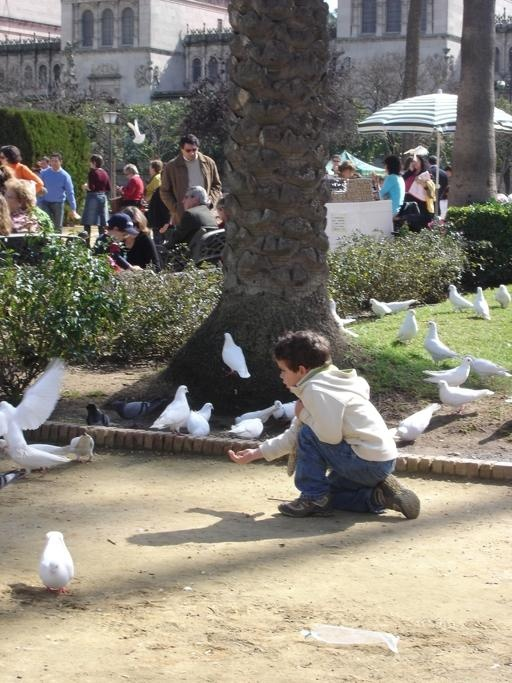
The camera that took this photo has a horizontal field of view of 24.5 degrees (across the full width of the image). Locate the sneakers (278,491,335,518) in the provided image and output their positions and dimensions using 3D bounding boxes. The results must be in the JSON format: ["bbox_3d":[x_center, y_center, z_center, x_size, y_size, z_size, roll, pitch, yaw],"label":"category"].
[{"bbox_3d":[0.250,0.808,5.803,0.265,0.109,0.098,3,4,-12],"label":"sneakers"}]

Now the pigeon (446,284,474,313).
[{"bbox_3d":[1.952,-0.386,10.908,0.352,0.236,0.169,9,-5,-13],"label":"pigeon"}]

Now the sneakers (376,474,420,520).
[{"bbox_3d":[0.718,0.754,5.823,0.258,0.148,0.108,35,27,19],"label":"sneakers"}]

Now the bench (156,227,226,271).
[{"bbox_3d":[-0.657,-0.864,11.343,0.747,0.499,0.559,17,22,42],"label":"bench"}]
